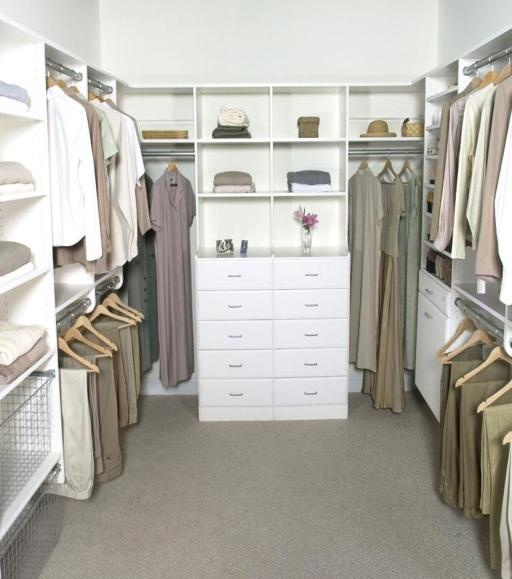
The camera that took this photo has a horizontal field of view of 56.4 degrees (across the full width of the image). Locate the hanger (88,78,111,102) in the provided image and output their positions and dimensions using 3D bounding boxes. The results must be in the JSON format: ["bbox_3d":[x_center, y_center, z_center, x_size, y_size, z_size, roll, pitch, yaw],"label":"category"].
[{"bbox_3d":[-0.906,-1.173,2.807,0.092,0.163,0.365,-3,19,-16],"label":"hanger"}]

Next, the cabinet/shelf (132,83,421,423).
[{"bbox_3d":[0.167,-0.303,3.365,1.547,3.156,0.659,-1,3,-3],"label":"cabinet/shelf"}]

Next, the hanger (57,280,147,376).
[{"bbox_3d":[-0.816,0.198,2.475,0.243,0.154,0.397,8,24,16],"label":"hanger"}]

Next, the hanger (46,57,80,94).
[{"bbox_3d":[-0.894,-0.989,2.237,0.101,0.207,0.373,-8,19,-22],"label":"hanger"}]
